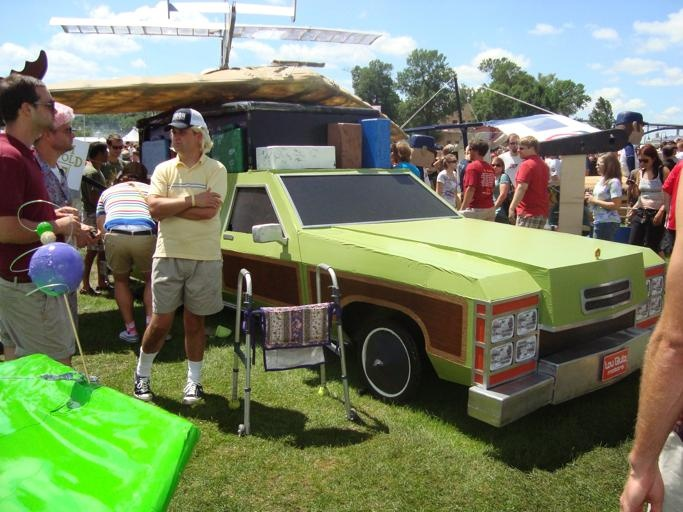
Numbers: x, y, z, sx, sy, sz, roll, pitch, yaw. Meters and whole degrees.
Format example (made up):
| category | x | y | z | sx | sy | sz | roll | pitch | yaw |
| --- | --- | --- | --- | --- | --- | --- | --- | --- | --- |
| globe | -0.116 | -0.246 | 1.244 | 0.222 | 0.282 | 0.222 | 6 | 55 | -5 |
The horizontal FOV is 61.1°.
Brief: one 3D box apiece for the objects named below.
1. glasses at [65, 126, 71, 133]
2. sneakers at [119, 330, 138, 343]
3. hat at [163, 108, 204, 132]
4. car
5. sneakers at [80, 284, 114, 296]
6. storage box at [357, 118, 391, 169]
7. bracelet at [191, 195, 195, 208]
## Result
| category | x | y | z | sx | sy | sz | roll | pitch | yaw |
| --- | --- | --- | --- | --- | --- | --- | --- | --- | --- |
| glasses | -1.927 | -0.895 | 4.089 | 0.033 | 0.034 | 0.032 | -3 | -10 | -43 |
| sneakers | -2.255 | 0.828 | 6.118 | 0.103 | 0.135 | 0.274 | -5 | 14 | -38 |
| hat | -1.209 | -1.051 | 4.550 | 0.232 | 0.129 | 0.162 | -1 | 17 | -42 |
| car | 0.544 | 0.178 | 5.033 | 1.988 | 1.165 | 3.375 | -11 | 15 | -43 |
| sneakers | -3.378 | 0.481 | 7.994 | 0.451 | 0.192 | 0.152 | -4 | 9 | -31 |
| storage box | 0.422 | -1.410 | 7.258 | 0.359 | 0.590 | 0.456 | 0 | 15 | 3 |
| bracelet | -1.149 | -0.422 | 4.487 | 0.018 | 0.072 | 0.069 | -4 | 15 | -20 |
